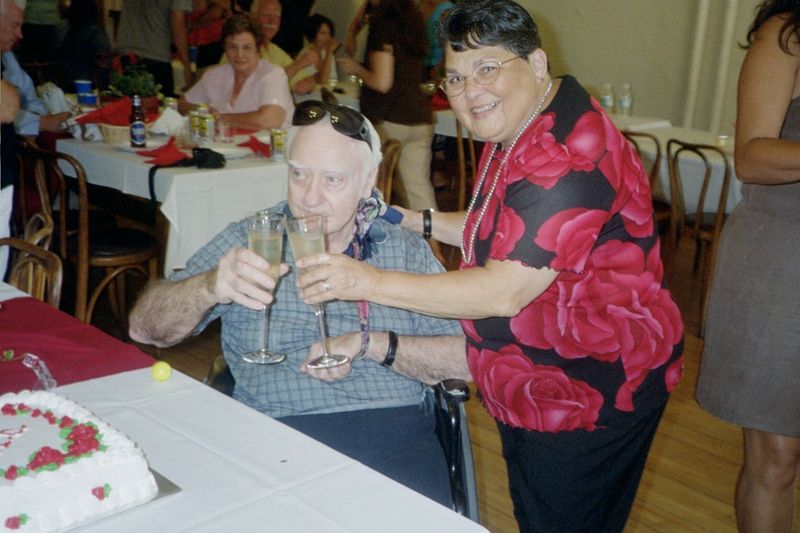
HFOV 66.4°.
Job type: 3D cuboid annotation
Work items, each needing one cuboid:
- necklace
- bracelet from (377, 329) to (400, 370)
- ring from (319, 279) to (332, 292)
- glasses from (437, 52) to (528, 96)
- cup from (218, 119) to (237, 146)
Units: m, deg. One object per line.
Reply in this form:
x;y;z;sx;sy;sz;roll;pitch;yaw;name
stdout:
0.227;-0.251;1.729;0.039;0.554;0.187;24;10;9;necklace
-0.029;0.249;1.799;0.058;0.090;0.093;15;3;-7;bracelet
-0.189;0.051;1.548;0.025;0.024;0.006;-1;16;42;ring
0.183;-0.502;1.641;0.126;0.099;0.265;-11;19;-36;glasses
-1.084;-0.865;4.004;0.117;0.161;0.174;3;6;8;cup
